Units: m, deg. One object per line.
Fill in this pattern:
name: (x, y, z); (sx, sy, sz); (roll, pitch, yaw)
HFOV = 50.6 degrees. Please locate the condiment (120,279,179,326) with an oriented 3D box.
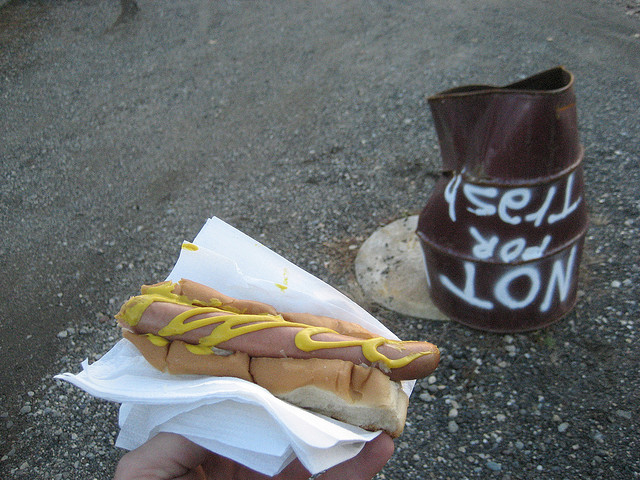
condiment: (-1.067, 0.377, 4.221); (0.393, 0.104, 0.215); (-29, 59, -5)
